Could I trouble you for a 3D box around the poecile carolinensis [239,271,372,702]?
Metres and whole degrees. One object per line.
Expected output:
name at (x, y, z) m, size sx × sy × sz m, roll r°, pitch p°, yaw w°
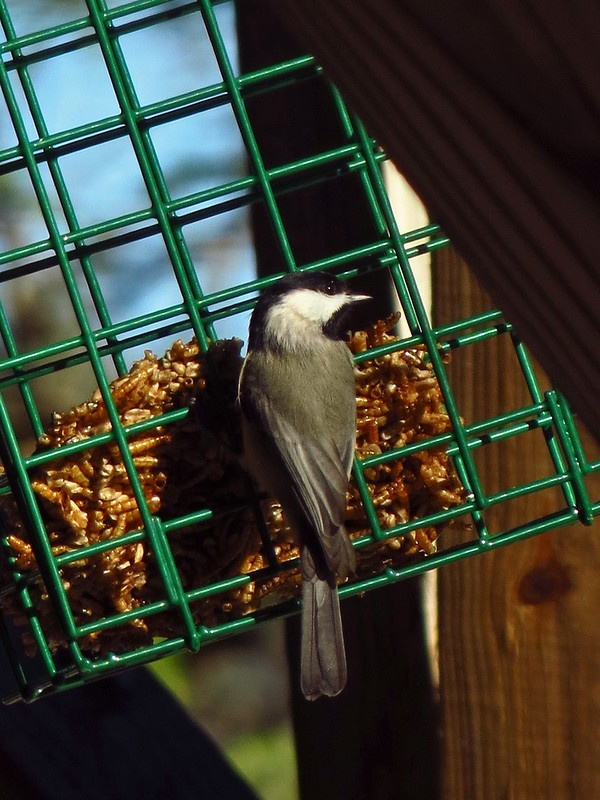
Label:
poecile carolinensis at (0.026, 0.175, 2.277) m, size 0.281 × 0.859 × 0.357 m, roll 13°, pitch -16°, yaw -32°
